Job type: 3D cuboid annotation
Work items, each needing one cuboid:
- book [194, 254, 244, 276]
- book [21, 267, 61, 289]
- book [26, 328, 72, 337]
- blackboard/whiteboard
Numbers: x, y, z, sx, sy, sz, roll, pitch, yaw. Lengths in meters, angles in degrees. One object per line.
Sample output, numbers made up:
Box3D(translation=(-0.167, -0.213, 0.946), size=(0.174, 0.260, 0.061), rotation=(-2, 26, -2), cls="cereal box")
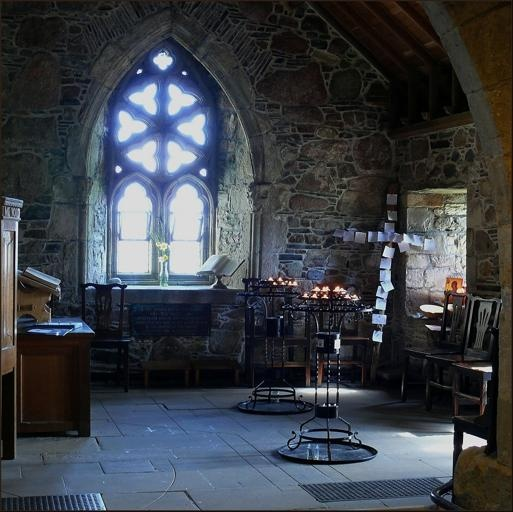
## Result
Box3D(translation=(-0.453, 0.124, 7.663), size=(0.599, 0.279, 0.457), rotation=(1, -1, 2), cls="book")
Box3D(translation=(-1.660, 0.158, 4.521), size=(0.255, 0.058, 0.251), rotation=(26, 0, 28), cls="book")
Box3D(translation=(-1.592, 0.583, 4.533), size=(0.383, 0.014, 0.394), rotation=(1, -1, 39), cls="book")
Box3D(translation=(-1.110, 0.833, 7.505), size=(1.039, 0.442, 0.499), rotation=(1, -16, -15), cls="blackboard/whiteboard")
